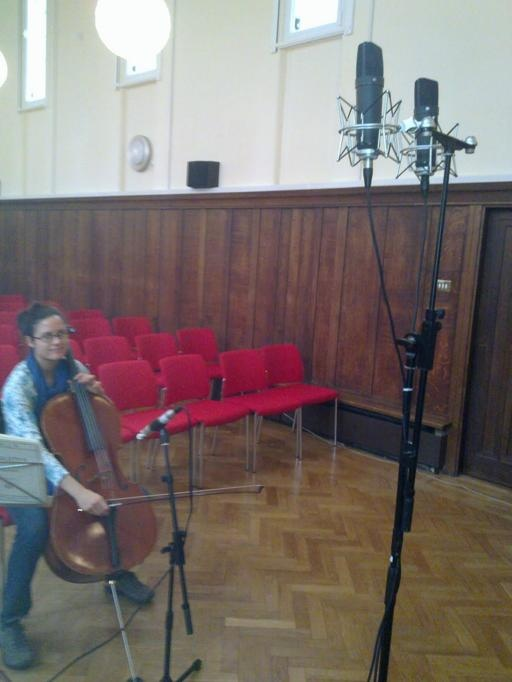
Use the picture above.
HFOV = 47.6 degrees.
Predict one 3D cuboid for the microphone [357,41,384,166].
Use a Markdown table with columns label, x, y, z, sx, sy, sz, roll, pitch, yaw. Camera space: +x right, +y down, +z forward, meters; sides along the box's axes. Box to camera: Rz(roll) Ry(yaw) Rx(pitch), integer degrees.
| label | x | y | z | sx | sy | sz | roll | pitch | yaw |
| --- | --- | --- | --- | --- | --- | --- | --- | --- | --- |
| microphone | 0.324 | -0.704 | 1.687 | 0.083 | 0.357 | 0.141 | 5 | 7 | 7 |

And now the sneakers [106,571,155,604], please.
| label | x | y | z | sx | sy | sz | roll | pitch | yaw |
| --- | --- | --- | --- | --- | --- | --- | --- | --- | --- |
| sneakers | -0.328 | 0.649 | 1.540 | 0.039 | 0.137 | 0.079 | 12 | 55 | 50 |
